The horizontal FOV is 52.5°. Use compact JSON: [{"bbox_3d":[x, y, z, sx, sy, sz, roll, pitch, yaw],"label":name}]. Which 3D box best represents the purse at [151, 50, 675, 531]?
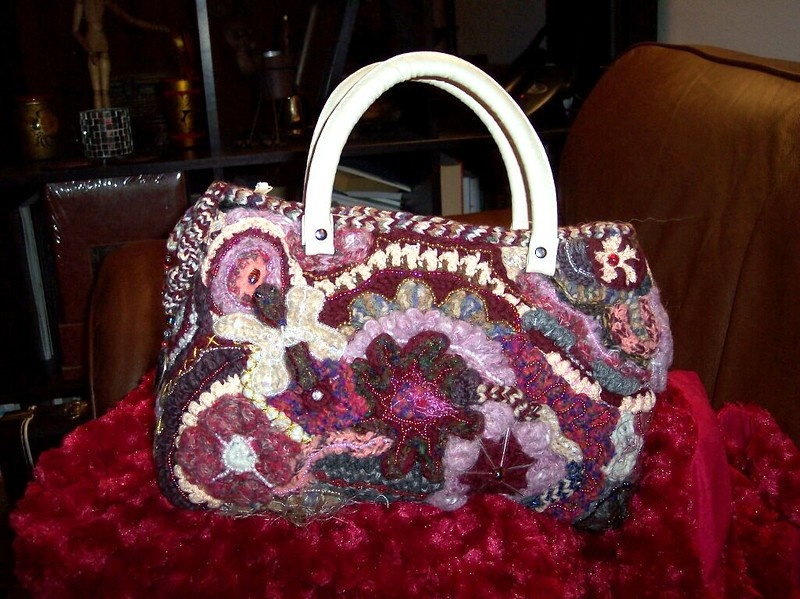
[{"bbox_3d":[0.024,-0.014,1.250,0.721,0.740,0.305,4,13,-3],"label":"purse"}]
